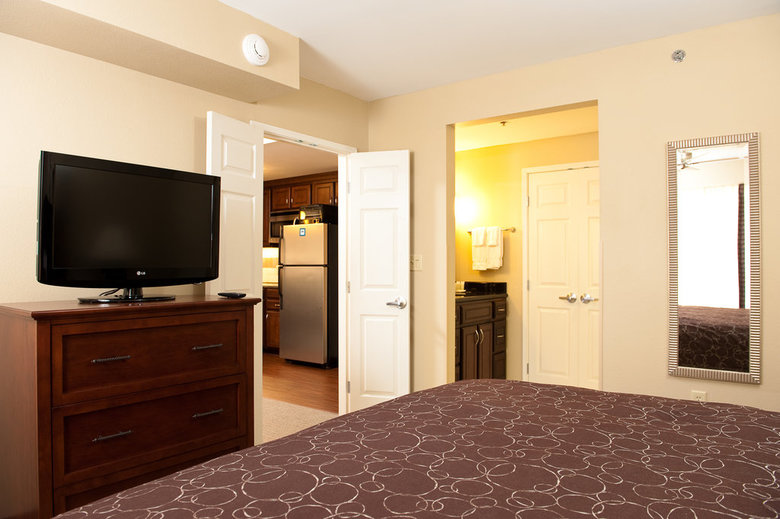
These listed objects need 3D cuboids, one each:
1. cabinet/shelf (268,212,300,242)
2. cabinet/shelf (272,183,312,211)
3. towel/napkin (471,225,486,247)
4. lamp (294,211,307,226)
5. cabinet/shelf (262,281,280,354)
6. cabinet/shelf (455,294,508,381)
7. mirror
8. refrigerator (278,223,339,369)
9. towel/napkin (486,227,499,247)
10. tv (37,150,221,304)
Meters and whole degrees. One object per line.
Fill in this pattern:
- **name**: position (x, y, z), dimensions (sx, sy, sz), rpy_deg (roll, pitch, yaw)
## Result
- **cabinet/shelf**: position (-1.597, -0.484, 7.887), dimensions (0.594, 0.469, 0.209), rpy_deg (0, -16, 42)
- **cabinet/shelf**: position (-1.470, -0.957, 7.826), dimensions (0.564, 0.286, 0.192), rpy_deg (-1, -3, 29)
- **towel/napkin**: position (1.070, -0.264, 6.065), dimensions (0.103, 0.236, 0.218), rpy_deg (-7, 11, -35)
- **lamp**: position (-1.298, -0.598, 7.492), dimensions (0.094, 0.231, 0.177), rpy_deg (6, -6, -26)
- **cabinet/shelf**: position (-1.742, 0.905, 7.513), dimensions (0.383, 1.029, 0.169), rpy_deg (6, 11, 36)
- **cabinet/shelf**: position (0.939, 0.813, 5.335), dimensions (0.428, 0.887, 1.074), rpy_deg (-4, -6, 38)
- **mirror**: position (2.208, 0.047, 3.485), dimensions (0.677, 1.738, 0.043), rpy_deg (-4, 7, 0)
- **refrigerator**: position (-1.124, 0.479, 6.893), dimensions (0.831, 1.894, 0.674), rpy_deg (0, 9, 5)
- **towel/napkin**: position (1.203, -0.262, 5.943), dimensions (0.229, 0.225, 0.137), rpy_deg (5, 8, 34)
- **tv**: position (-1.452, -0.150, 2.916), dimensions (0.221, 0.757, 0.991), rpy_deg (5, 3, 41)
